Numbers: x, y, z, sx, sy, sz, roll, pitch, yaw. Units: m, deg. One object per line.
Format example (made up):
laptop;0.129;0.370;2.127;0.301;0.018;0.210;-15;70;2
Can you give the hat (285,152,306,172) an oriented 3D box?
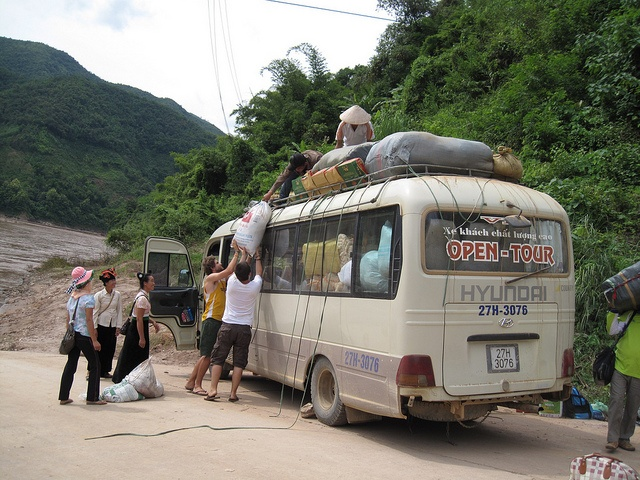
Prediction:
hat;-0.428;-1.504;9.832;0.267;0.378;0.197;-12;-43;19

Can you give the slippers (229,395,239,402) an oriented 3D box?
slippers;-1.530;2.838;8.975;0.206;0.080;0.074;4;-3;-20

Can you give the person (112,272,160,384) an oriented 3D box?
person;-3.916;1.976;10.803;1.175;3.120;0.917;0;38;-27

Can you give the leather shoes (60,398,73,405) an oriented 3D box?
leather shoes;-4.148;2.657;8.267;0.181;0.081;0.065;-2;6;-37

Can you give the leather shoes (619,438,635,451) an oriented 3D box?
leather shoes;4.119;2.793;6.859;0.101;0.128;0.281;3;-4;-36

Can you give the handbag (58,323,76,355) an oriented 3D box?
handbag;-4.132;1.637;8.273;0.164;0.549;0.360;3;-3;-39

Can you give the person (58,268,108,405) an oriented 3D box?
person;-3.945;1.609;8.404;0.696;2.259;0.578;0;-3;32

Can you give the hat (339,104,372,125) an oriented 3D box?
hat;0.706;-2.531;10.090;0.586;0.408;0.340;2;-3;-2

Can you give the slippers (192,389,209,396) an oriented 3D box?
slippers;-2.210;2.820;9.267;0.237;0.093;0.121;1;-4;2

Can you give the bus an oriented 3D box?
bus;0.926;0.750;8.172;3.434;2.171;4.578;3;-2;-34
